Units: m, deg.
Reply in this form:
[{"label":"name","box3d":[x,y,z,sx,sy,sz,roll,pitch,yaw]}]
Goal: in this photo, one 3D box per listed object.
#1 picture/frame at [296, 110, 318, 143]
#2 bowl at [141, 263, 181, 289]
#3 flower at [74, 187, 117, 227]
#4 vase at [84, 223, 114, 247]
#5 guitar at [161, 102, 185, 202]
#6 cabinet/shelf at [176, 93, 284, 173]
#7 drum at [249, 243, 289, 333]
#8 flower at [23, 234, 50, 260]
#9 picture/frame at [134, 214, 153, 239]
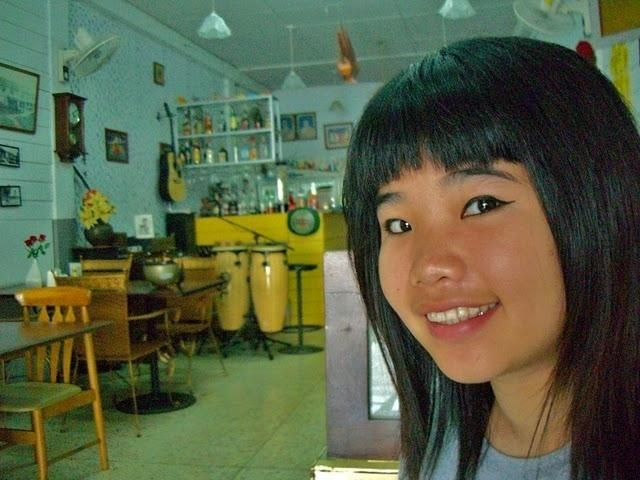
[{"label":"picture/frame","box3d":[-0.202,-1.914,9.970,0.500,0.661,0.069,1,5,10]},{"label":"bowl","box3d":[-1.164,0.266,4.437,0.188,0.115,0.193,0,-3,0]},{"label":"flower","box3d":[-1.901,-0.306,5.093,0.223,0.114,0.265,16,33,-8]},{"label":"vase","box3d":[-1.974,-0.023,5.453,0.213,0.251,0.219,-8,-7,42]},{"label":"guitar","box3d":[-1.893,-1.130,7.709,0.254,1.318,0.638,-2,3,-5]},{"label":"cabinet/shelf","box3d":[-1.378,-1.514,8.440,1.423,0.909,0.508,-13,13,-37]},{"label":"drum","box3d":[-0.502,0.492,5.997,0.383,0.898,0.277,-2,3,-9]},{"label":"flower","box3d":[-2.412,0.053,5.098,0.216,0.253,0.094,1,-4,-8]},{"label":"picture/frame","box3d":[-1.833,-0.140,6.274,0.259,0.369,0.025,0,-11,-21]}]
